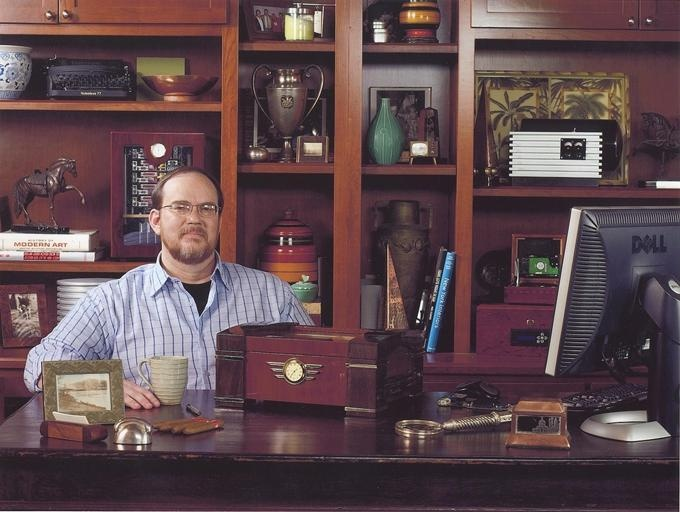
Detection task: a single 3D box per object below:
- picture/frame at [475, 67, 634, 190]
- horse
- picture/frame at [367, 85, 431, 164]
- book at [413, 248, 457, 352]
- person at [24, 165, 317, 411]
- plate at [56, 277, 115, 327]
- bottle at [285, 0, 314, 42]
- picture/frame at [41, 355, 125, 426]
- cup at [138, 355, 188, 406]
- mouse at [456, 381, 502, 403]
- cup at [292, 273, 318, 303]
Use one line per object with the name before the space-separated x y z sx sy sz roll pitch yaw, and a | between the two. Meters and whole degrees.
picture/frame | 0.957 -0.581 3.965 0.616 0.415 0.023 1 -7 -6
horse | -1.331 -0.292 3.912 0.363 0.312 0.110 -2 1 16
picture/frame | 0.276 -0.605 4.005 0.398 0.447 0.033 1 -15 -7
book | 0.428 0.192 3.898 0.156 0.470 0.201 0 9 -3
person | -0.555 0.157 3.122 1.158 0.883 0.600 1 -5 -34
plate | -1.149 0.178 3.847 0.272 0.180 0.265 -1 4 -8
bottle | -0.188 -1.034 3.796 0.167 0.181 0.164 0 1 0
picture/frame | -0.719 0.383 2.401 0.190 0.159 0.013 0 -11 -16
cup | -0.538 0.381 2.623 0.162 0.133 0.117 1 -3 -5
mouse | 0.432 0.416 2.689 0.109 0.040 0.060 7 2 21
cup | -0.171 0.148 3.900 0.124 0.119 0.121 -1 0 0
